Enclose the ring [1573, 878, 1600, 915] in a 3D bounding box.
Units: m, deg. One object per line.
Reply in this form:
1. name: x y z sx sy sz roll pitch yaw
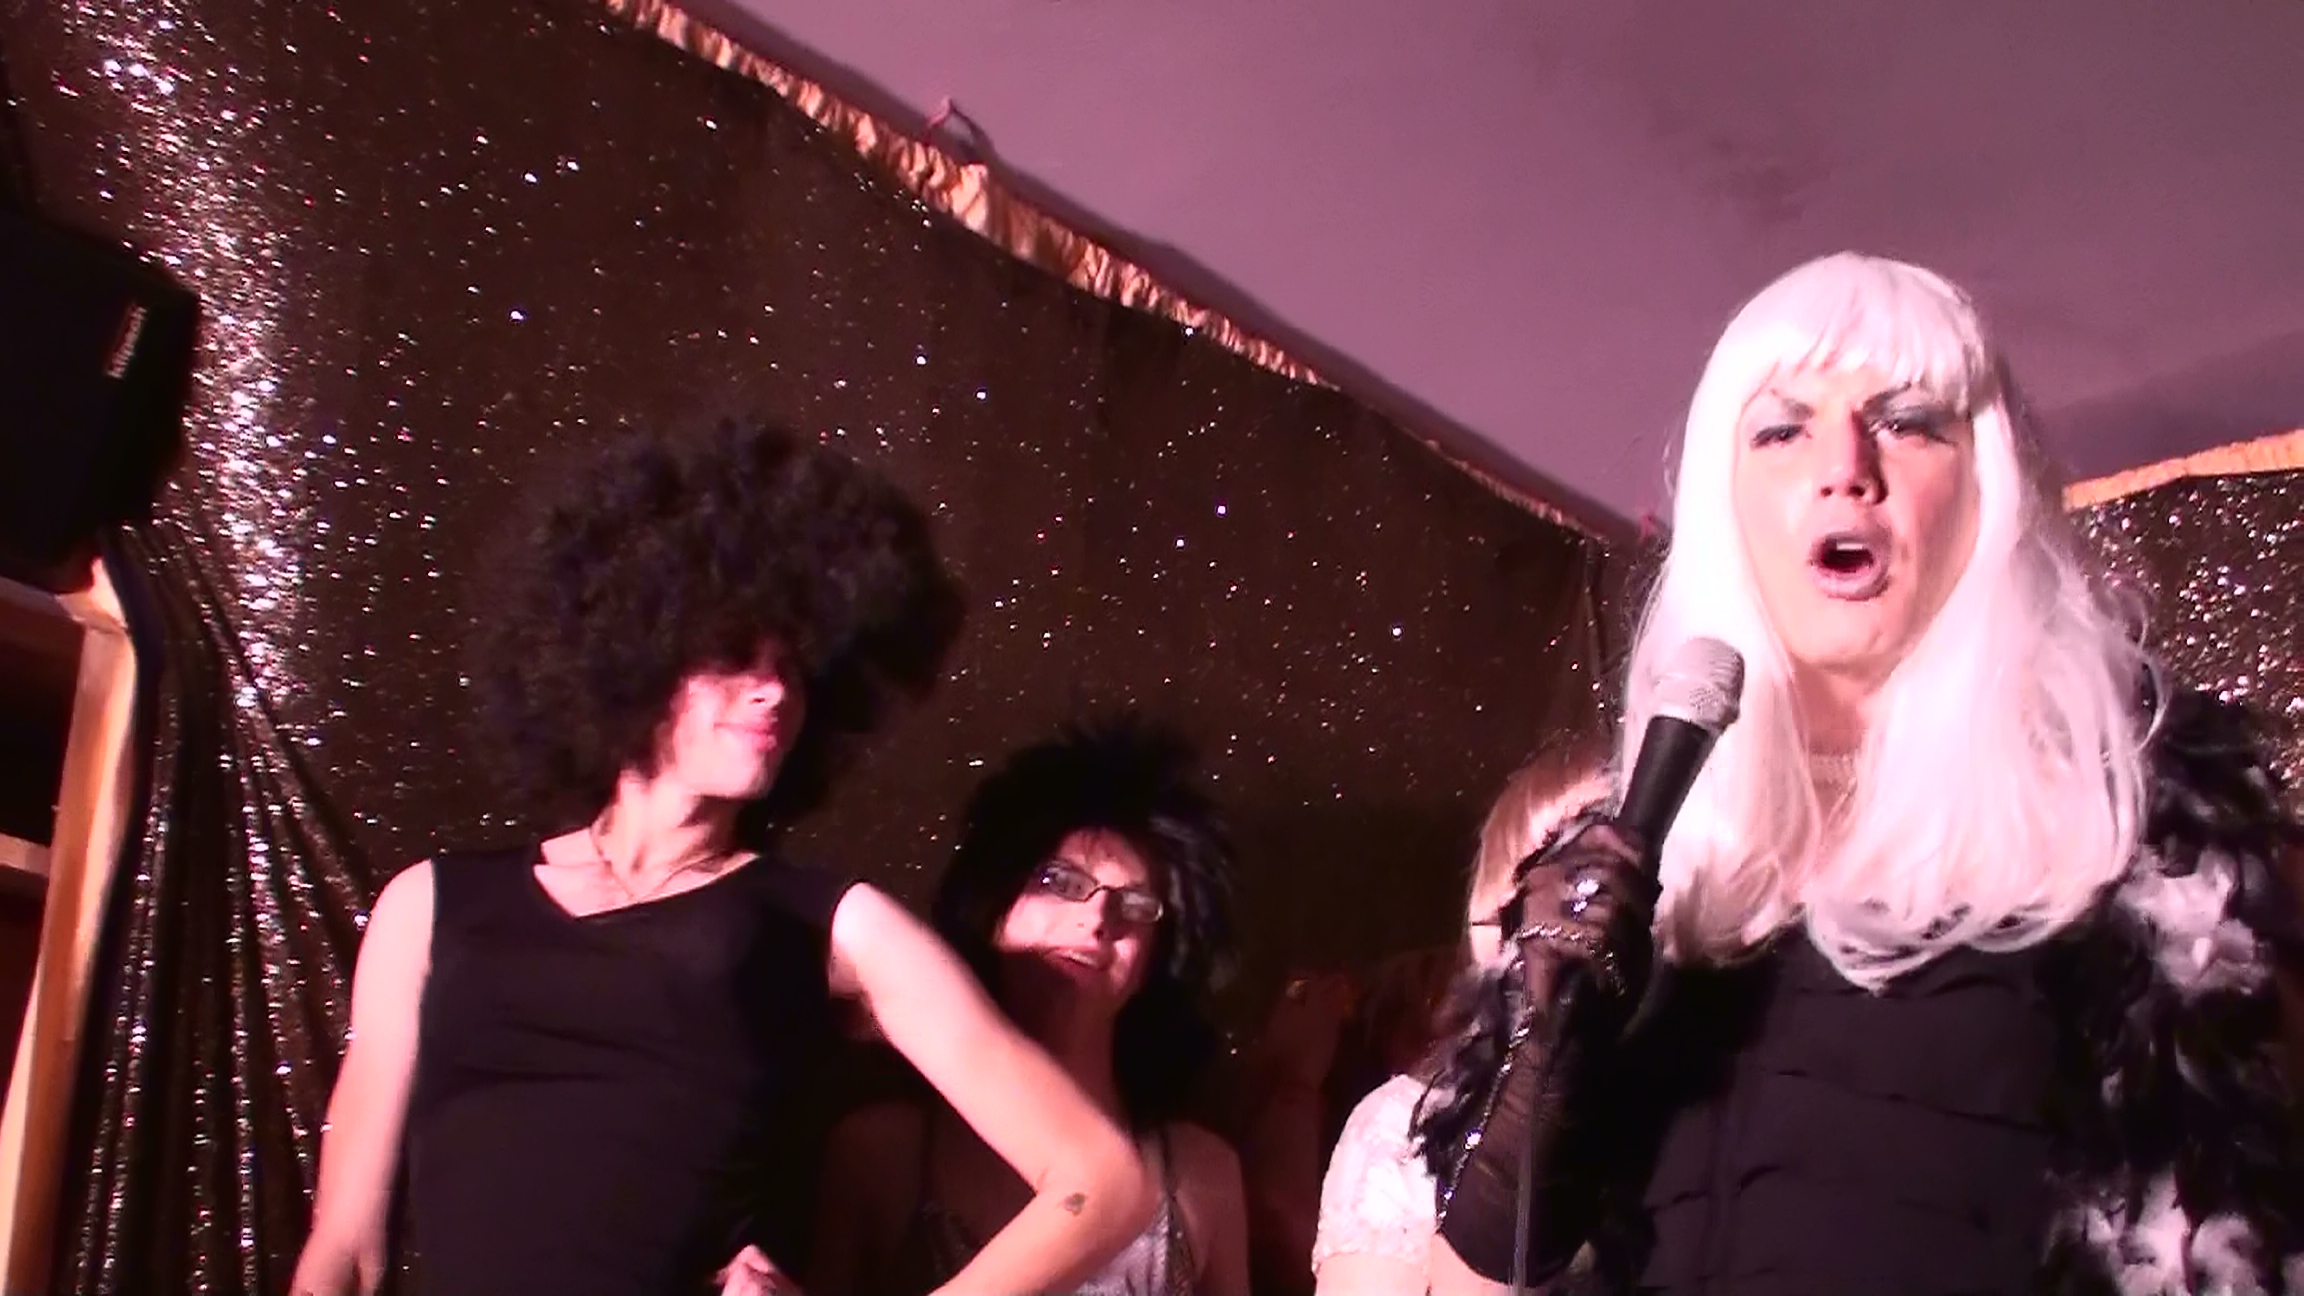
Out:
1. ring: 0.496 0.282 1.891 0.012 0.040 0.024 15 20 -41
